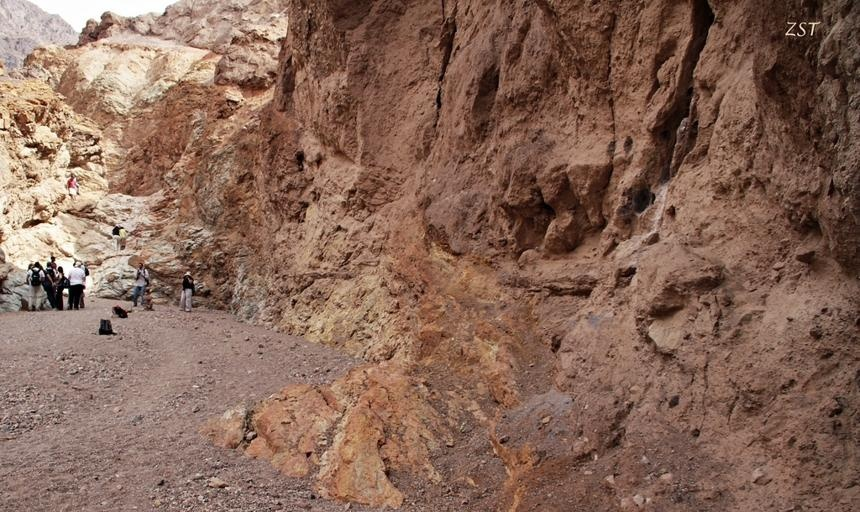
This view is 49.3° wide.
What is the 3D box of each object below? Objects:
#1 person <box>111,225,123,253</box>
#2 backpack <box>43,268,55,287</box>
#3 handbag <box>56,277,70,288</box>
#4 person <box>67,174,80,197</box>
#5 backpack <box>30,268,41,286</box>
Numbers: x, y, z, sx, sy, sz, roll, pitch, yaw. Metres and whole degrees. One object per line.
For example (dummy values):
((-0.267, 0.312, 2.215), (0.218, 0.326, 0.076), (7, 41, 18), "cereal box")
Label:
((-11.306, -0.624, 34.171), (0.442, 0.766, 1.023), (8, 8, -20), "person")
((-11.537, 0.683, 28.513), (0.271, 0.537, 0.514), (-1, -2, 14), "backpack")
((-11.269, 0.836, 28.852), (0.284, 0.438, 0.400), (5, 4, -12), "handbag")
((-13.184, -2.606, 34.829), (0.465, 0.733, 1.064), (8, 9, -22), "person")
((-11.939, 0.667, 28.501), (0.390, 0.604, 0.319), (2, -28, -15), "backpack")
